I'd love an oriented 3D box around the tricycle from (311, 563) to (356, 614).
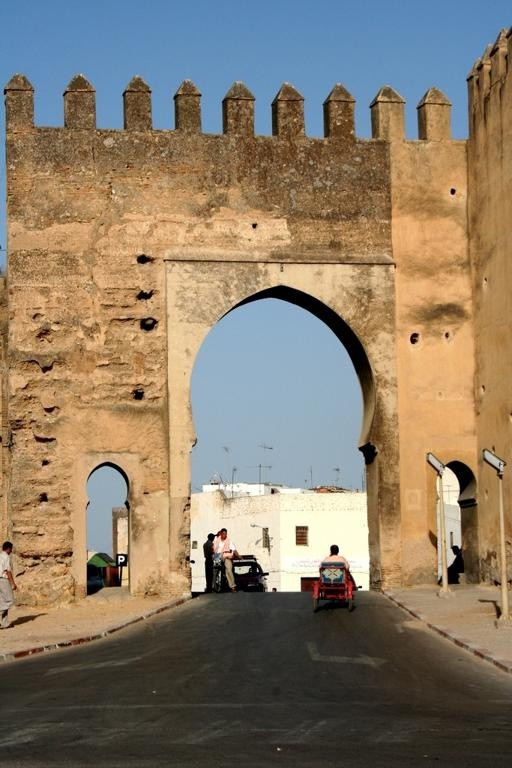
[{"bbox_3d":[0.945,2.409,17.609,0.525,0.640,1.034,0,7,6],"label":"tricycle"}]
